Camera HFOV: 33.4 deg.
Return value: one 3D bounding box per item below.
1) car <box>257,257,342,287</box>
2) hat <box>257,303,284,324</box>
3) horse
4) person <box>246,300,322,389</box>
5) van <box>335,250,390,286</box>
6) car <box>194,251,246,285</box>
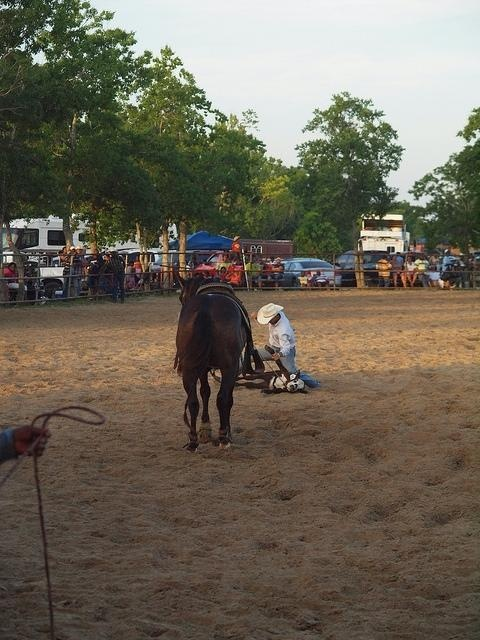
[{"bbox_3d":[2.603,-1.763,32.054,1.353,0.914,3.040,-7,13,-31],"label":"car"},{"bbox_3d":[0.333,-0.056,8.802,0.218,0.246,0.104,19,-30,38],"label":"hat"},{"bbox_3d":[-0.253,0.369,7.226,0.720,1.493,1.471,-2,3,1],"label":"horse"},{"bbox_3d":[0.448,0.338,9.219,0.881,1.024,0.702,23,43,38],"label":"person"},{"bbox_3d":[5.071,-2.067,32.662,2.338,1.142,1.304,1,3,3],"label":"van"},{"bbox_3d":[-0.641,-2.007,28.572,1.556,1.090,2.449,-3,-6,25],"label":"car"}]
